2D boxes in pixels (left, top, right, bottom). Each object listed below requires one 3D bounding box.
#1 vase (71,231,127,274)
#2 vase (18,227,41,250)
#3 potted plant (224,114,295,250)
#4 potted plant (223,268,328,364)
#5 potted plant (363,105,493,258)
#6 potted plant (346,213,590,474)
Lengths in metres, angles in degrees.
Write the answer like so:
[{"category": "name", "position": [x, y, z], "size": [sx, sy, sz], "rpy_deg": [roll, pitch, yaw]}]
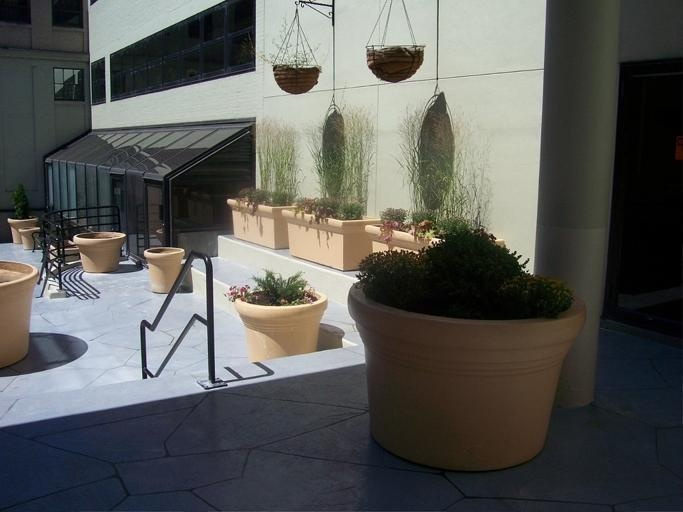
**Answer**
[{"category": "vase", "position": [-5.197, -0.137, 12.069], "size": [0.861, 0.725, 0.897], "rpy_deg": [-2, 7, -25]}, {"category": "vase", "position": [-9.100, -0.535, 16.465], "size": [0.646, 0.808, 0.673], "rpy_deg": [1, 3, -6]}, {"category": "potted plant", "position": [-1.579, -1.432, 11.065], "size": [1.188, 3.270, 2.259], "rpy_deg": [-2, 9, -27]}, {"category": "potted plant", "position": [-0.655, 0.673, 6.027], "size": [0.818, 0.952, 0.775], "rpy_deg": [-8, 15, -35]}, {"category": "potted plant", "position": [1.168, -1.014, 7.271], "size": [0.664, 2.231, 2.108], "rpy_deg": [-1, 3, -21]}, {"category": "potted plant", "position": [0.900, 0.513, 3.847], "size": [1.254, 1.302, 1.415], "rpy_deg": [3, 12, 3]}]
